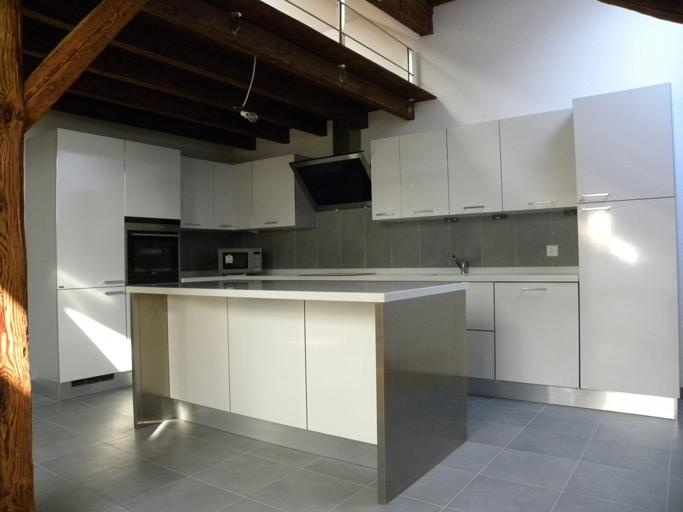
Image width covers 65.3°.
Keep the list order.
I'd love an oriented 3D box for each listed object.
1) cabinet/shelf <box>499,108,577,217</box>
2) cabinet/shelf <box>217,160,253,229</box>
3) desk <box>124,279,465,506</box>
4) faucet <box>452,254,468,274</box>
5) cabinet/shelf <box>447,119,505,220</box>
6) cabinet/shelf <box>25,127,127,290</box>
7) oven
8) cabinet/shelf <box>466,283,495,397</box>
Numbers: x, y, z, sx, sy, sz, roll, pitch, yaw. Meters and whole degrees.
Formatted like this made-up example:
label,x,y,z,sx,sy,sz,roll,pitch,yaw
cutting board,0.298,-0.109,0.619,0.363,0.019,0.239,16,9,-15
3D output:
label,x,y,z,sx,sy,sz,roll,pitch,yaw
cabinet/shelf,1.808,-0.994,4.844,0.733,0.916,0.736,17,48,40
cabinet/shelf,-1.320,-0.737,6.496,0.471,0.801,0.288,-2,5,-8
desk,-0.428,0.721,3.784,2.474,1.165,1.025,1,5,26
faucet,1.150,0.066,5.191,0.176,0.167,0.173,1,5,24
cabinet/shelf,1.245,-0.712,5.099,0.476,0.695,0.487,-2,-8,-12
cabinet/shelf,-2.543,-0.443,5.084,0.920,1.471,0.562,-3,5,-22
oven,-2.038,-0.116,5.729,0.553,0.693,0.429,-1,22,-24
cabinet/shelf,1.231,0.675,4.675,0.251,0.918,0.082,1,5,26
